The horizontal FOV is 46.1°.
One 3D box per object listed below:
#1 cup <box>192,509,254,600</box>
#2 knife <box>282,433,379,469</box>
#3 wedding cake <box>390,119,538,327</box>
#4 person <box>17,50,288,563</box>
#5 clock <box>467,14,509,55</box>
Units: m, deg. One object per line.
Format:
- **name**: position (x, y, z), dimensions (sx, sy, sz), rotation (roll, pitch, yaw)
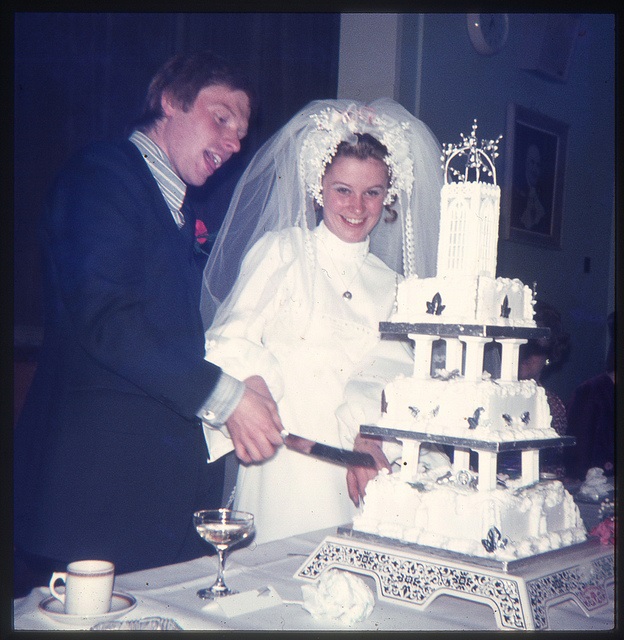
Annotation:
- **cup**: position (-0.206, 0.523, 1.652), dimensions (0.128, 0.188, 0.130), rotation (0, 9, 0)
- **knife**: position (0.061, 0.414, 2.332), dimensions (0.299, 0.105, 0.053), rotation (1, 9, 3)
- **wedding cake**: position (0.400, -0.249, 1.868), dimensions (0.330, 0.552, 0.345), rotation (2, 2, -24)
- **person**: position (-0.503, -0.076, 2.291), dimensions (0.796, 1.535, 0.398), rotation (-2, 9, -14)
- **clock**: position (0.647, -1.049, 2.681), dimensions (0.175, 0.128, 0.128), rotation (0, 10, -4)
